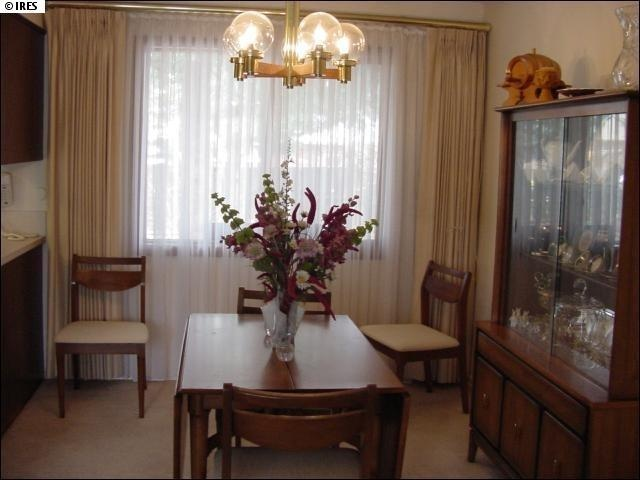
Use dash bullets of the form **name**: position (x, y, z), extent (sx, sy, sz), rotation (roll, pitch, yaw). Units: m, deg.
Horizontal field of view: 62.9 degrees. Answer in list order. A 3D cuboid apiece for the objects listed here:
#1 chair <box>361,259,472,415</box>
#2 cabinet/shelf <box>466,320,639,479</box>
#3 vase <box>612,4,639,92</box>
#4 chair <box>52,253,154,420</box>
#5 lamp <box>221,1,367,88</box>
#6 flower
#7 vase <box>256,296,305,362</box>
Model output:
- **chair**: position (0.735, 0.737, 4.069), extent (0.678, 1.102, 0.660), rotation (-1, 5, -25)
- **cabinet/shelf**: position (1.228, 0.819, 2.706), extent (0.336, 0.750, 0.967), rotation (3, 5, -3)
- **vase**: position (1.480, -0.917, 2.533), extent (0.087, 0.396, 0.210), rotation (1, 9, 15)
- **chair**: position (-1.608, 0.671, 3.881), extent (0.661, 1.110, 0.758), rotation (-4, 9, -19)
- **lamp**: position (-0.147, -0.960, 2.600), extent (0.496, 0.364, 0.499), rotation (-1, 9, -30)
- **flower**: position (-0.161, 0.048, 2.726), extent (0.663, 0.650, 0.579), rotation (13, 20, 17)
- **vase**: position (-0.199, 0.471, 2.778), extent (0.169, 0.317, 0.135), rotation (11, -32, -6)
